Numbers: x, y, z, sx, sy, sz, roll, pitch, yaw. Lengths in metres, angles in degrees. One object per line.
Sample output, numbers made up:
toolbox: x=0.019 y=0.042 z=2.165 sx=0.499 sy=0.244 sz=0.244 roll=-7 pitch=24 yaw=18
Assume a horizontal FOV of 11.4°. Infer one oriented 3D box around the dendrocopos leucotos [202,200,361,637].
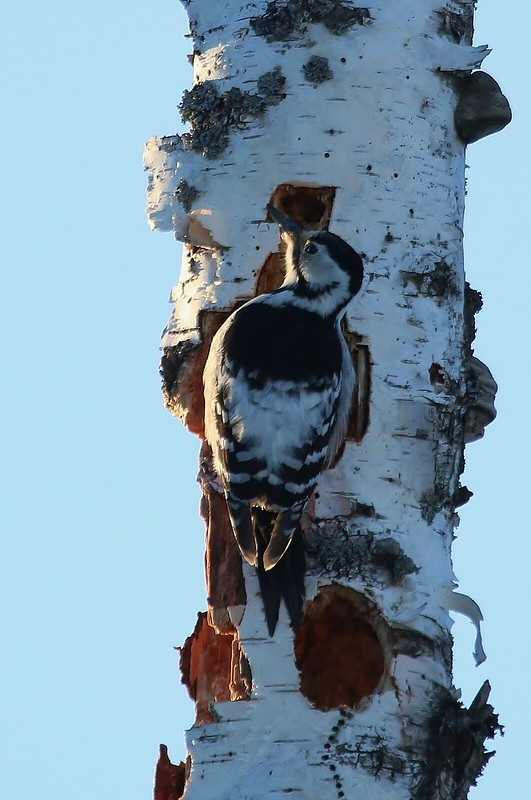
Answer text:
dendrocopos leucotos: x=0.011 y=0.057 z=11.009 sx=0.514 sy=1.932 sz=1.030 roll=9 pitch=-19 yaw=-4
